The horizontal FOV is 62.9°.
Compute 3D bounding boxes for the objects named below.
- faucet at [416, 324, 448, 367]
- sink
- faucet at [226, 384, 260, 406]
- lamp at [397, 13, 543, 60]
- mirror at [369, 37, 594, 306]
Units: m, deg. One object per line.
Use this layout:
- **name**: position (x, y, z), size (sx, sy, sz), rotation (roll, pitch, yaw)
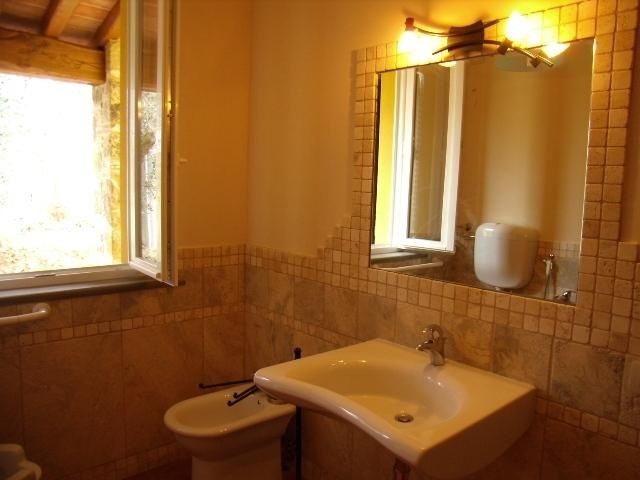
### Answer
- **faucet**: position (0.457, 0.417, 2.070), size (0.054, 0.149, 0.165), rotation (19, -27, -33)
- **sink**: position (0.277, 0.607, 1.928), size (0.816, 0.218, 0.619), rotation (10, 15, 38)
- **faucet**: position (-0.383, 0.762, 2.582), size (0.168, 0.043, 0.094), rotation (-21, 0, -39)
- **lamp**: position (0.561, -0.784, 2.005), size (0.546, 0.189, 0.066), rotation (11, 33, 34)
- **mirror**: position (0.636, -0.264, 1.981), size (1.020, 1.036, 0.053), rotation (7, 5, 40)
